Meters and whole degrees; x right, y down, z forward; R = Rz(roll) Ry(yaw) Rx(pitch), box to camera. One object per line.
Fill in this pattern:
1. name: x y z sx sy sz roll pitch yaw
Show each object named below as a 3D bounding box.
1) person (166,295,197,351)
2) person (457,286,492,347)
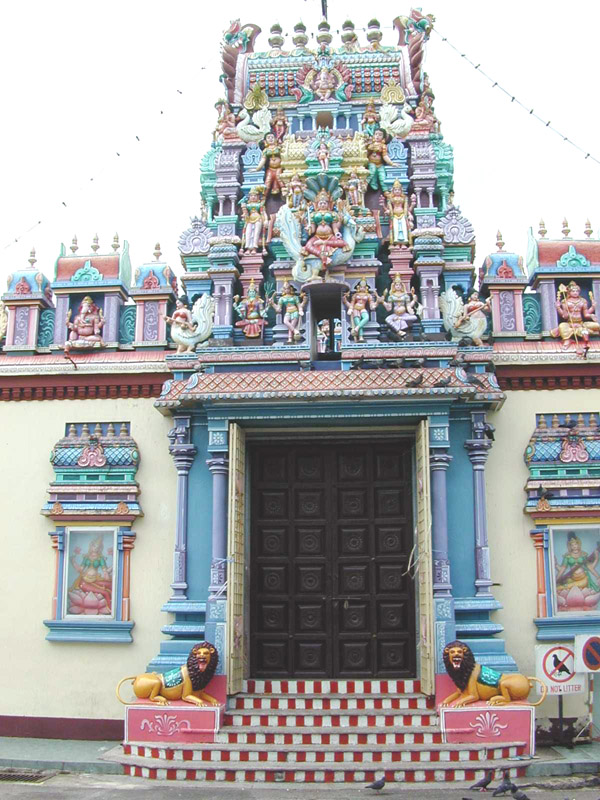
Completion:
1. person: -1.360 -0.877 14.910 0.292 0.732 0.357 -1 -19 -5
2. person: 2.000 -0.910 14.757 0.412 0.675 0.226 -2 -19 -2
